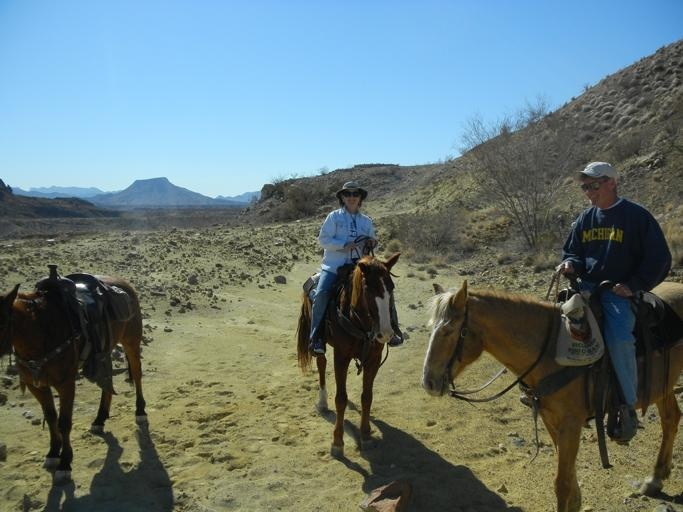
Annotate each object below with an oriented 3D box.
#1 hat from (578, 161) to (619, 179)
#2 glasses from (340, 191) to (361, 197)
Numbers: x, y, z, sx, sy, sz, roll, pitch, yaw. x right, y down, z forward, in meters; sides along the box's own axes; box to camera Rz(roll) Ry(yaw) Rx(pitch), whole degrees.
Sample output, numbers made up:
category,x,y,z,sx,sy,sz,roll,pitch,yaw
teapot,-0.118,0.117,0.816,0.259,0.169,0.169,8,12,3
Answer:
category,x,y,z,sx,sy,sz,roll,pitch,yaw
hat,3.206,-1.063,6.644,0.375,0.161,0.255,4,9,1
glasses,0.173,-1.042,8.885,0.363,0.137,0.223,-1,14,-8
